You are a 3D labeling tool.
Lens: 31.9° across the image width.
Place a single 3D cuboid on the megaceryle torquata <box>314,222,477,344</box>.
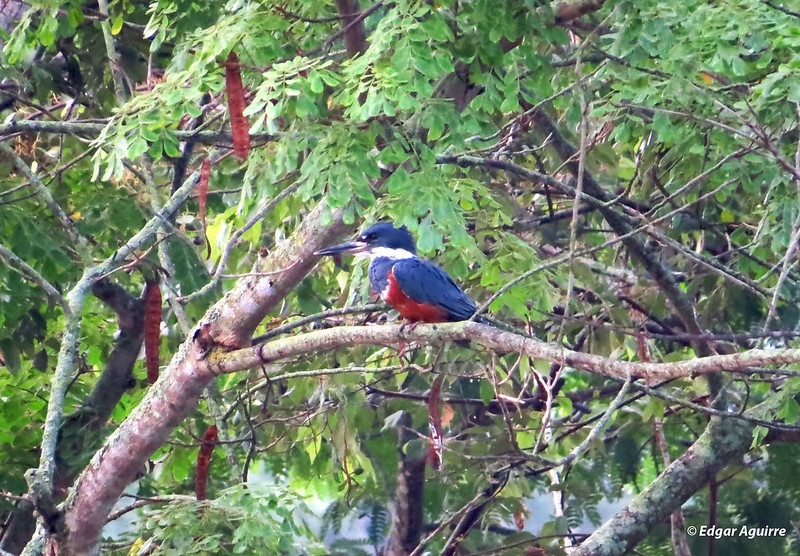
[{"bbox_3d":[0.050,-0.021,11.942,1.385,1.019,0.577,-7,0,-29],"label":"megaceryle torquata"}]
